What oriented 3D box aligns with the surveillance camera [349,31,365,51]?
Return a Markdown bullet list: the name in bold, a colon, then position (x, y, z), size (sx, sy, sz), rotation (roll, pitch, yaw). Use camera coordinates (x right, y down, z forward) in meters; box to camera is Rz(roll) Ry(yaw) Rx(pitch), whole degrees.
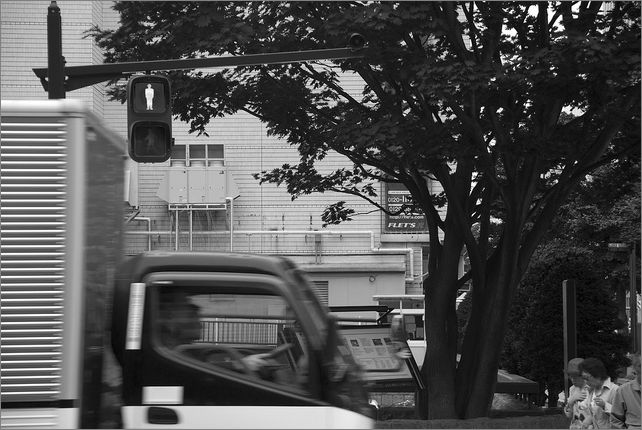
- **surveillance camera**: position (0.618, -2.930, 20.471), size (0.241, 0.294, 0.261), rotation (13, 1, -2)
